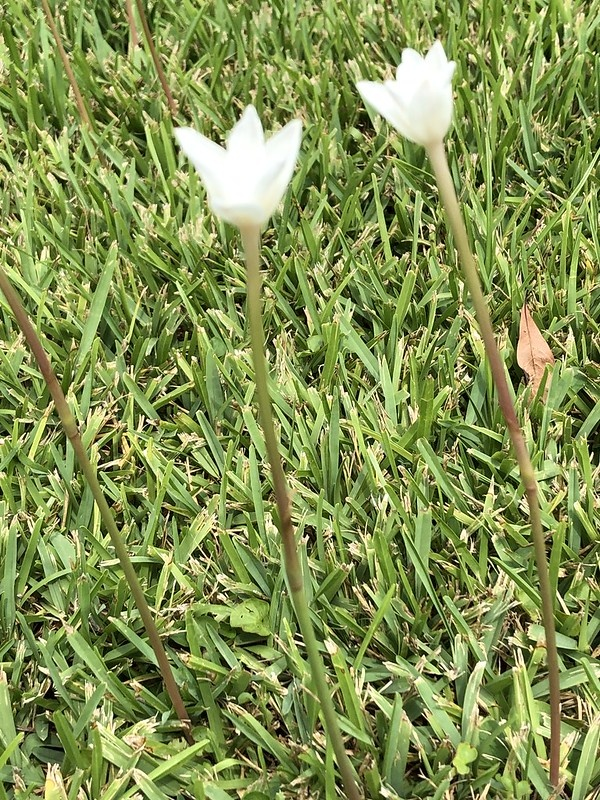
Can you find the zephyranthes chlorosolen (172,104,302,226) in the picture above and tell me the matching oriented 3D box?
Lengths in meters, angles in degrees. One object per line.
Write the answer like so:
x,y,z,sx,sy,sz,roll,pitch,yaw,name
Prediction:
-0.032,-0.103,0.295,0.041,0.039,0.060,-11,52,-6,zephyranthes chlorosolen
